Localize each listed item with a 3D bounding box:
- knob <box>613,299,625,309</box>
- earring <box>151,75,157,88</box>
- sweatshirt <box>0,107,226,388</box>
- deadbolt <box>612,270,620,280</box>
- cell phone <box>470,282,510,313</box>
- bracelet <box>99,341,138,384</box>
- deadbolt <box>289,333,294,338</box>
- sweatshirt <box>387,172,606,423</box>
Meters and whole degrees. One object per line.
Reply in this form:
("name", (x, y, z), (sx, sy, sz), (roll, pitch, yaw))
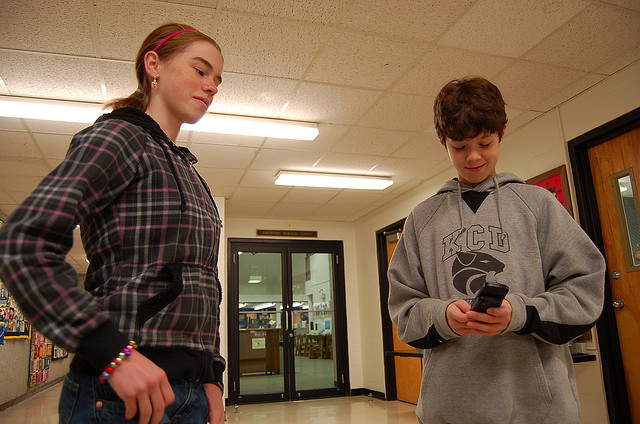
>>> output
("knob", (2.557, 0.792, 3.394), (0.085, 0.077, 0.061), (5, -10, -35))
("earring", (-0.575, -0.458, 1.382), (0.015, 0.038, 0.019), (3, -18, -19))
("sweatshirt", (-0.551, 0.084, 1.181), (0.626, 0.858, 0.200), (11, -23, -39))
("deadbolt", (2.576, 0.547, 3.451), (0.030, 0.077, 0.081), (6, -12, -21))
("cell phone", (0.534, 0.268, 1.257), (0.076, 0.032, 0.145), (11, -30, 3))
("bracelet", (-0.515, 0.381, 1.006), (0.031, 0.105, 0.087), (37, -28, -25))
("deadbolt", (-0.506, 2.165, 6.942), (0.067, 0.060, 0.015), (0, -23, -10))
("sweatshirt", (0.630, 0.270, 1.452), (0.755, 0.955, 0.416), (-6, -17, 7))
